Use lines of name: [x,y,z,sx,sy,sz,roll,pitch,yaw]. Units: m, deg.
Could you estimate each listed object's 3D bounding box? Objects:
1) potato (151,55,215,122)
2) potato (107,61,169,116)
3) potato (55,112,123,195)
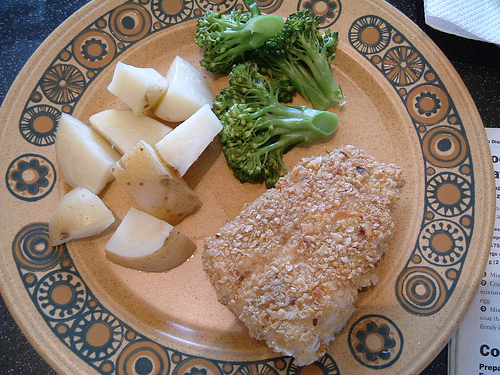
potato: [-0.352,-0.486,2.918,0.302,0.125,0.357,-18,68,41]
potato: [-0.560,-0.512,2.877,0.251,0.225,0.239,37,87,2]
potato: [-0.836,-0.205,2.901,0.443,0.168,0.317,39,56,18]
